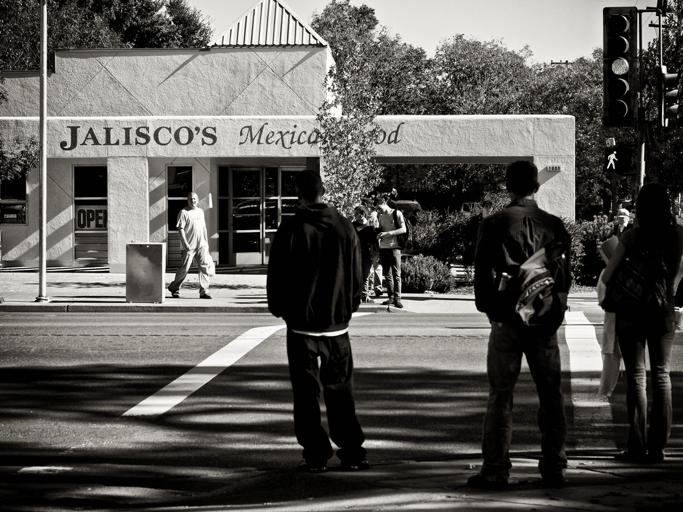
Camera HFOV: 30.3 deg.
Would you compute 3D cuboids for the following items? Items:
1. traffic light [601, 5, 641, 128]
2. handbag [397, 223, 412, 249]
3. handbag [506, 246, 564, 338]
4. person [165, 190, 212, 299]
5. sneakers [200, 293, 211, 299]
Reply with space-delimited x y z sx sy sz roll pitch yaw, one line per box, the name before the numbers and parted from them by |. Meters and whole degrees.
traffic light | 4.590 -3.086 20.665 0.587 1.922 0.373 1 11 11
handbag | 1.240 -0.392 24.674 0.245 0.535 0.374 1 11 8
handbag | 2.142 0.325 13.580 0.693 0.870 0.349 1 -4 42
person | -3.056 -0.199 25.663 0.763 2.274 0.923 -8 13 -32
sneakers | -2.807 0.832 25.929 0.215 0.089 0.093 -3 3 14
